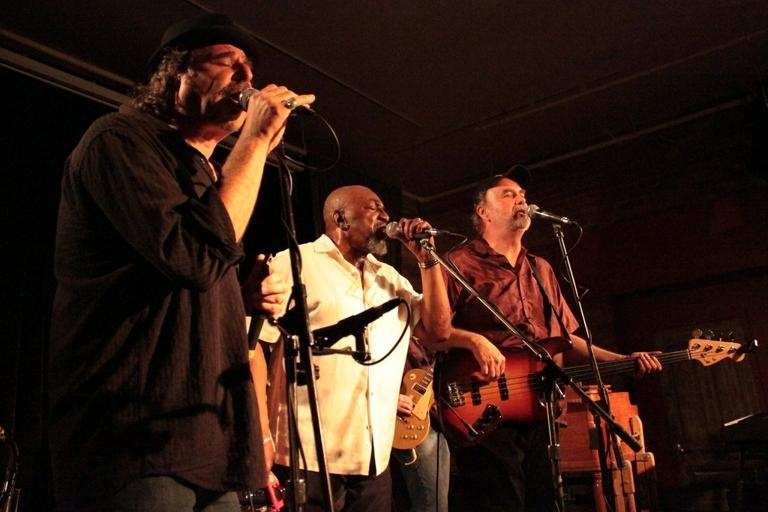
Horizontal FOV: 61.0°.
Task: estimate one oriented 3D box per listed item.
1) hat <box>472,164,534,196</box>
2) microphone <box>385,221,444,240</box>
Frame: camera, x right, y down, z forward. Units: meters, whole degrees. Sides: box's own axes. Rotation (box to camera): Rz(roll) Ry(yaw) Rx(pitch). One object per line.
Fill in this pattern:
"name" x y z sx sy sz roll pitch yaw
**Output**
"hat" 1.220 -0.779 6.514 0.556 0.154 0.333 -31 -24 2
"microphone" 0.170 -0.154 4.124 0.477 0.128 0.129 0 -64 35
